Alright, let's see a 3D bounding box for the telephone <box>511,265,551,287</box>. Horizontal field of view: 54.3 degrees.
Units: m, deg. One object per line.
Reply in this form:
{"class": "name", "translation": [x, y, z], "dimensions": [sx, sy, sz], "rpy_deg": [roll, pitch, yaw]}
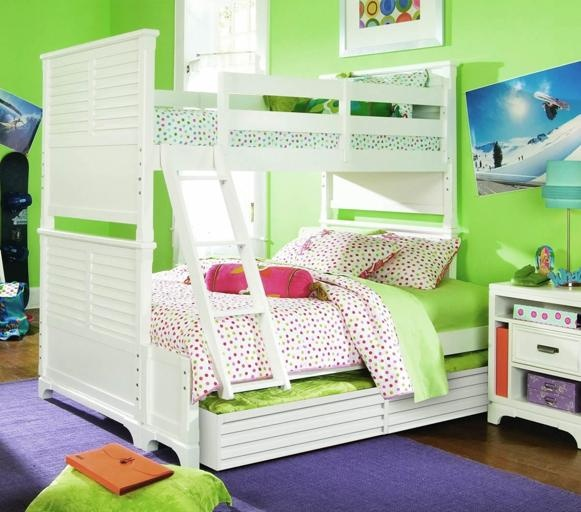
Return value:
{"class": "telephone", "translation": [1.198, 0.088, 2.860], "dimensions": [0.127, 0.037, 0.119], "rpy_deg": [-5, 10, -20]}

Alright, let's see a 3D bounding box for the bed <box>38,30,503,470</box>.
{"class": "bed", "translation": [-0.110, -0.175, 3.525], "dimensions": [2.308, 2.111, 2.278], "rpy_deg": [-3, 5, -38]}
